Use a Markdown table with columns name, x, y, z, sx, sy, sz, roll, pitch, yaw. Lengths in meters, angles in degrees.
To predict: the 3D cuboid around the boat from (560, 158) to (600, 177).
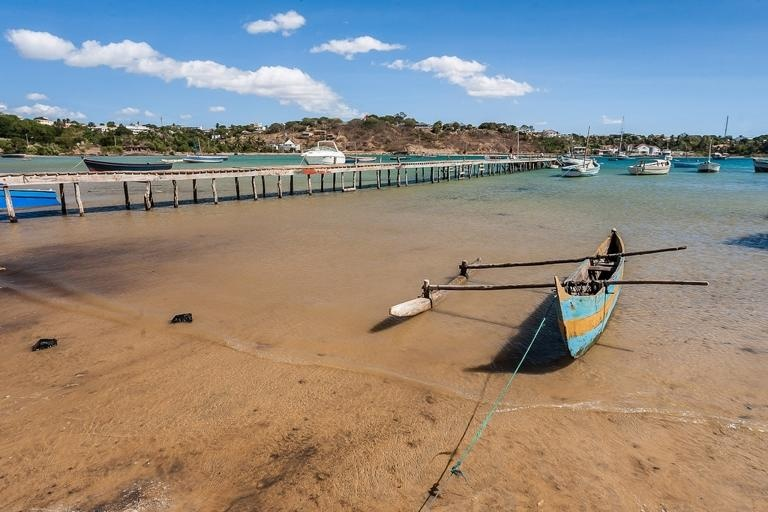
| name | x | y | z | sx | sy | sz | roll | pitch | yaw |
| --- | --- | --- | --- | --- | --- | --- | --- | --- | --- |
| boat | 25.661 | -11.584 | 62.070 | 3.528 | 2.571 | 6.187 | 6 | 12 | 33 |

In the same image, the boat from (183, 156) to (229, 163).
| name | x | y | z | sx | sy | sz | roll | pitch | yaw |
| --- | --- | --- | --- | --- | --- | --- | --- | --- | --- |
| boat | -37.285 | -20.275 | 98.641 | 6.120 | 1.912 | 11.055 | -1 | 9 | -5 |

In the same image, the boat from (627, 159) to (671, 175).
| name | x | y | z | sx | sy | sz | roll | pitch | yaw |
| --- | --- | --- | --- | --- | --- | --- | --- | --- | --- |
| boat | 36.481 | -12.178 | 65.181 | 4.438 | 2.103 | 3.508 | 3 | 11 | 19 |
